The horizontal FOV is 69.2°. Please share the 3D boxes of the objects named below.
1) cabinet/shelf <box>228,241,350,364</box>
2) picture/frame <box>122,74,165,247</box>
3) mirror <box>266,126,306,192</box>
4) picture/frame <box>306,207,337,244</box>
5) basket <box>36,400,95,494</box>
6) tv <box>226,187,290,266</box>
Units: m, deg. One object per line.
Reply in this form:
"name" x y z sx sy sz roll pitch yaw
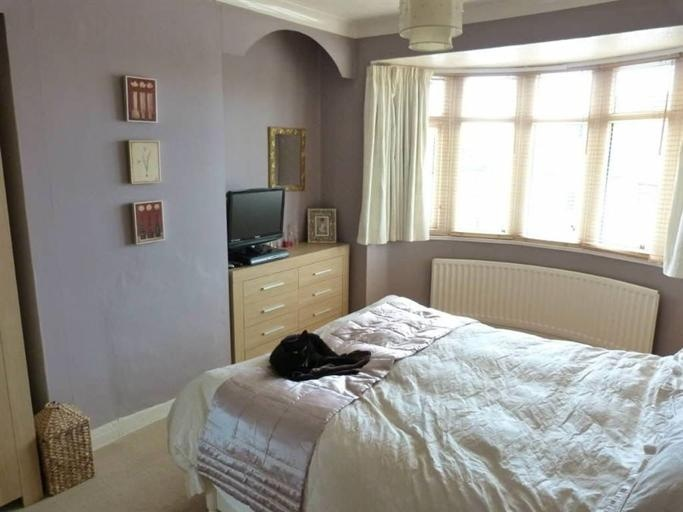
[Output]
"cabinet/shelf" -0.490 0.388 4.173 0.318 0.708 0.924 5 11 34
"picture/frame" -1.346 -0.646 3.404 0.067 1.122 0.287 5 13 31
"mirror" -0.561 -0.969 4.849 0.071 0.805 0.658 9 12 38
"picture/frame" -0.207 -0.311 5.138 0.359 0.439 0.043 0 3 -9
"basket" -1.730 1.185 3.091 0.281 0.531 0.198 -9 13 -35
"tv" -0.754 -0.261 4.331 0.335 0.565 0.600 10 14 32
